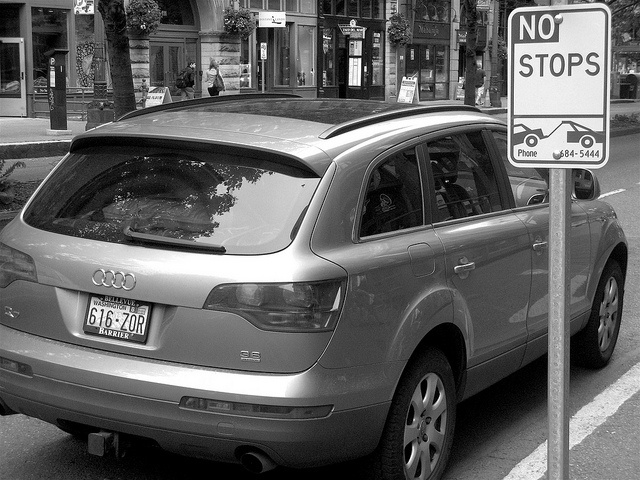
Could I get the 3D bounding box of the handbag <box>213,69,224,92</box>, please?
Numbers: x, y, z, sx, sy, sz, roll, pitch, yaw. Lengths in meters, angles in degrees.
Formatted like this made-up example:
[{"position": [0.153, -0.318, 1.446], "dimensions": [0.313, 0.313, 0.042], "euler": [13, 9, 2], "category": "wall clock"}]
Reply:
[{"position": [-4.785, -7.544, 24.828], "dimensions": [0.479, 0.988, 0.672], "euler": [0, 12, 2], "category": "handbag"}]
